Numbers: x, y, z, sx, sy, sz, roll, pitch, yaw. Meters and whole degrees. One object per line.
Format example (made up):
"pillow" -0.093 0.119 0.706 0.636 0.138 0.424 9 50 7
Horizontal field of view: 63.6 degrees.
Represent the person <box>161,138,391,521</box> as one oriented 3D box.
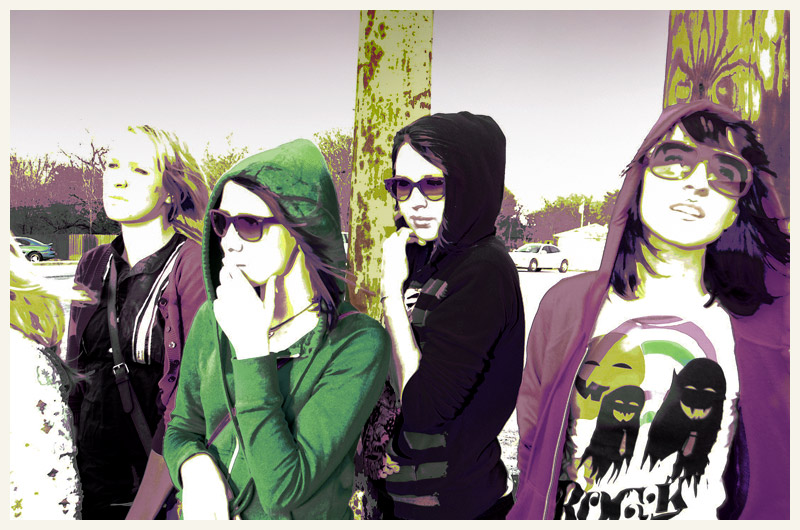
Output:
"person" -0.783 0.509 4.107 1.419 2.609 0.744 2 3 -2
